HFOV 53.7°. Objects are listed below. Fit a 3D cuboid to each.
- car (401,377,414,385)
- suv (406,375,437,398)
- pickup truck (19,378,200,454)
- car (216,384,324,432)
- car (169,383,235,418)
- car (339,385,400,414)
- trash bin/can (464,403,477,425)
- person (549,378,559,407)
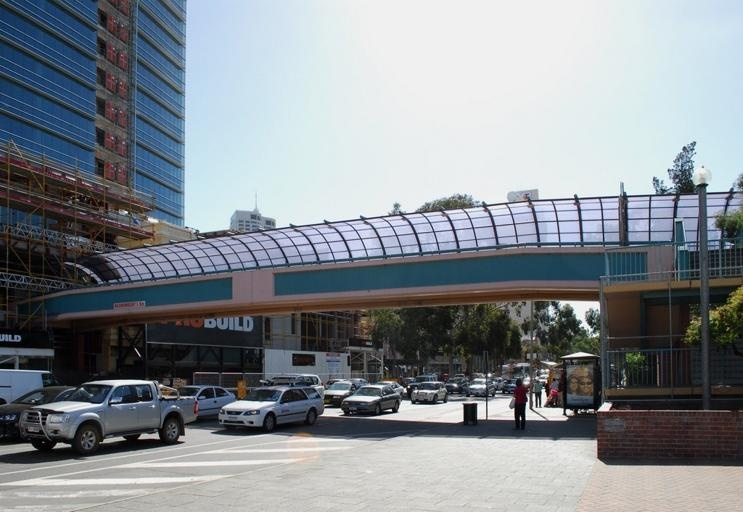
[{"bbox_3d":[3.632,12.186,73.302,1.305,1.017,2.285,0,-14,3],"label":"car"},{"bbox_3d":[4.210,10.264,60.033,1.455,1.521,3.041,-6,-18,19],"label":"suv"},{"bbox_3d":[-9.971,6.011,27.751,2.654,1.902,5.030,-8,-15,36],"label":"pickup truck"},{"bbox_3d":[-4.392,7.309,34.787,1.939,1.542,4.409,-8,-16,30],"label":"car"},{"bbox_3d":[-8.594,7.415,38.121,1.665,1.587,3.655,-8,-17,28],"label":"car"},{"bbox_3d":[0.017,8.347,42.757,1.699,1.829,3.779,-10,-16,32],"label":"car"},{"bbox_3d":[4.764,7.704,35.816,0.878,1.316,0.928,0,-6,0],"label":"trash bin/can"},{"bbox_3d":[12.077,9.147,48.796,0.698,1.750,1.381,-4,-13,14],"label":"person"}]
